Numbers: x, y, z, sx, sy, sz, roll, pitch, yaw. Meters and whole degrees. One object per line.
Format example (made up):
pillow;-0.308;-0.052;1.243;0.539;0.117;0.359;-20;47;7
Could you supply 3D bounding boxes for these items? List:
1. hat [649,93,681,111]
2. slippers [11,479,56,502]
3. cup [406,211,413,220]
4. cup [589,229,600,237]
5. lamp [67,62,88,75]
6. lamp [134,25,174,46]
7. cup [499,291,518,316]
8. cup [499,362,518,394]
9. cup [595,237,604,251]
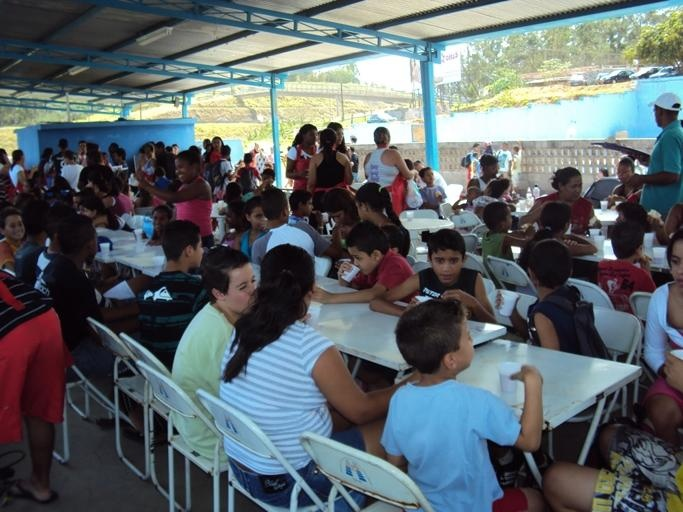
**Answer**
hat;3.159;-1.516;5.088;0.185;0.122;0.225;-5;27;-19
slippers;-1.712;1.319;2.877;0.156;0.123;0.056;21;-8;16
cup;0.804;-0.478;6.064;0.089;0.095;0.088;-2;9;0
cup;2.115;-0.197;4.326;0.069;0.067;0.061;-8;16;-25
lamp;-7.659;-5.453;15.064;0.574;0.163;2.227;-10;16;-25
lamp;-3.853;-4.496;10.517;0.577;0.286;2.473;-8;15;-19
cup;0.876;0.249;2.733;0.128;0.113;0.112;5;0;-4
cup;0.672;0.486;2.072;0.075;0.122;0.103;2;15;19
cup;2.089;-0.104;4.202;0.092;0.101;0.089;-3;15;1
